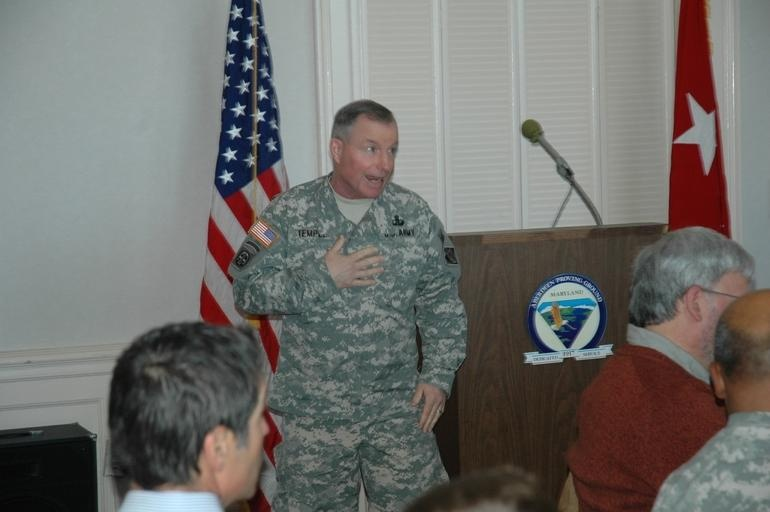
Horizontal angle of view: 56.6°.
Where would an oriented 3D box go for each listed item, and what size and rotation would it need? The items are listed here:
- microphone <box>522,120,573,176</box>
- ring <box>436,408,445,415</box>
[{"bbox_3d":[0.960,-0.656,4.275,0.121,0.423,0.133,-43,-3,16],"label":"microphone"},{"bbox_3d":[0.259,0.719,3.329,0.033,0.015,0.045,11,-9,-4],"label":"ring"}]
